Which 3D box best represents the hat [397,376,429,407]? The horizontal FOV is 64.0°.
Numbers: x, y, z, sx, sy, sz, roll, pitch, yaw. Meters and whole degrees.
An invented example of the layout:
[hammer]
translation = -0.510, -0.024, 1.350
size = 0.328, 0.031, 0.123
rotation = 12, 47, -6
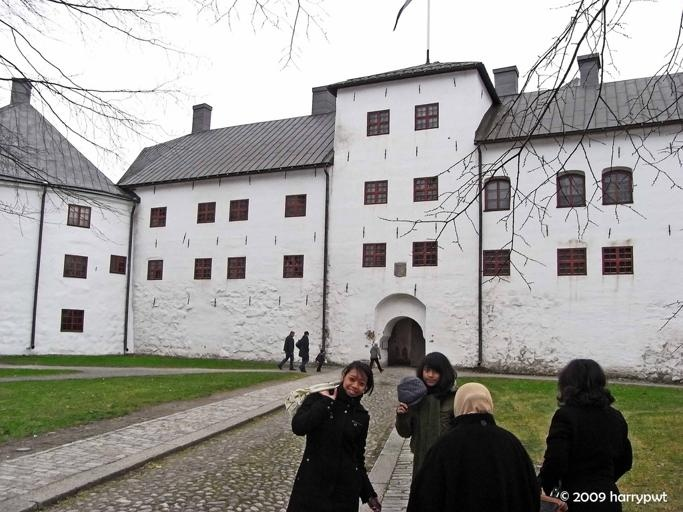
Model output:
[hat]
translation = 0.753, 1.377, 5.711
size = 0.338, 0.293, 0.260
rotation = -4, 7, 28
